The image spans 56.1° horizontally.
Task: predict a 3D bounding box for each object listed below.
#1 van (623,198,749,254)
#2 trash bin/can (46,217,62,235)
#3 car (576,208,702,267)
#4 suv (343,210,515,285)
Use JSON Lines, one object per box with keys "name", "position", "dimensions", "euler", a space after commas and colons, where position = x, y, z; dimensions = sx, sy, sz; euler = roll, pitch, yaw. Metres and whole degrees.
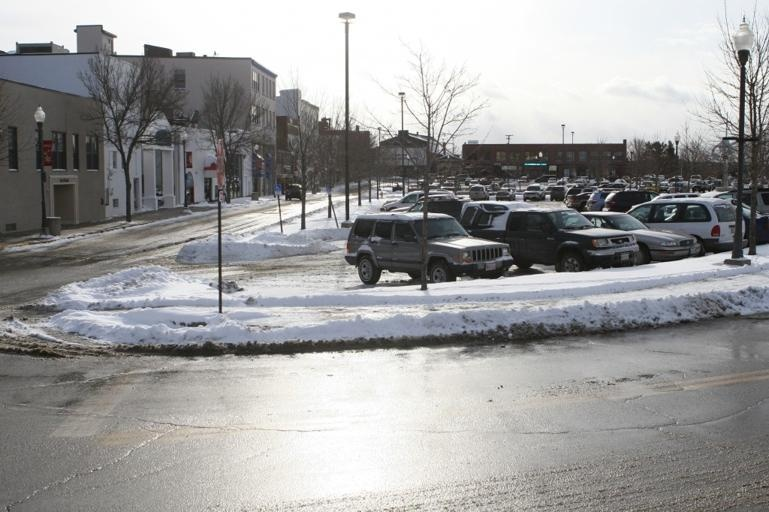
{"name": "van", "position": [10.269, -1.414, 24.732], "dimensions": [3.632, 1.658, 1.855], "euler": [9, 11, 43]}
{"name": "trash bin/can", "position": [-17.163, -1.565, 37.250], "dimensions": [0.496, 0.924, 1.168], "euler": [1, 11, 8]}
{"name": "car", "position": [8.123, -0.622, 23.448], "dimensions": [3.897, 1.408, 1.722], "euler": [1, 4, 35]}
{"name": "suv", "position": [1.125, -0.286, 21.959], "dimensions": [4.215, 2.002, 2.255], "euler": [1, 4, 43]}
